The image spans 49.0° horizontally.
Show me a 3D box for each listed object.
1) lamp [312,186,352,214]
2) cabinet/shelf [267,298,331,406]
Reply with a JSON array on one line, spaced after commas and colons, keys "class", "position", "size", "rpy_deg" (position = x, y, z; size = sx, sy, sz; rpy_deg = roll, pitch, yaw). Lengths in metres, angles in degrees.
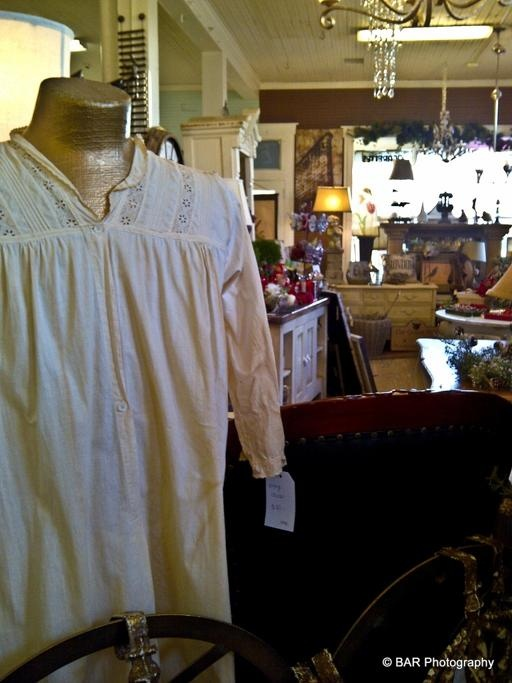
[{"class": "lamp", "position": [1.019, -1.853, 7.478], "size": [0.430, 0.323, 0.444], "rpy_deg": [0, -1, 5]}, {"class": "cabinet/shelf", "position": [0.265, 0.045, 3.494], "size": [0.238, 0.591, 0.696], "rpy_deg": [0, 13, 14]}]
